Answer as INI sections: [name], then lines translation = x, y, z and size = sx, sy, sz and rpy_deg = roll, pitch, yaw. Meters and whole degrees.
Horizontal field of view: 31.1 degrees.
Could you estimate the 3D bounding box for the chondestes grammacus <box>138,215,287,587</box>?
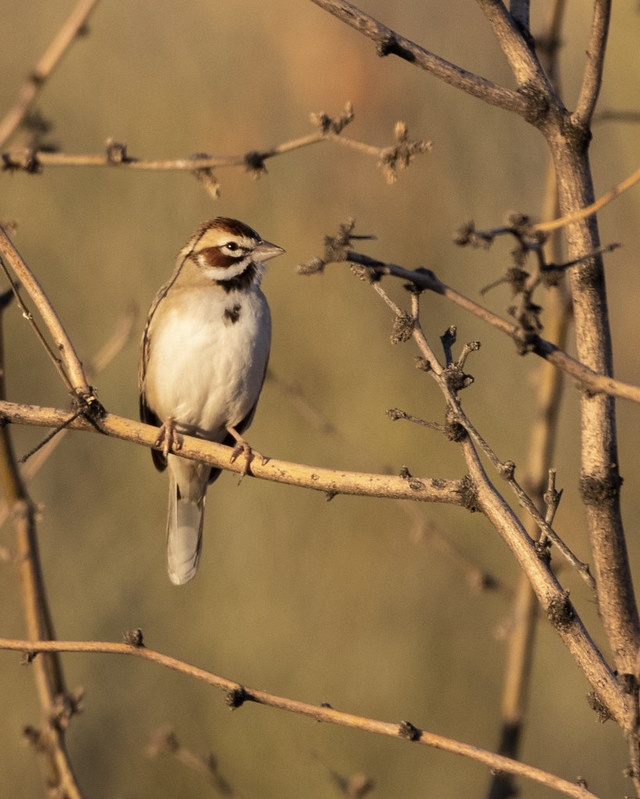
[chondestes grammacus]
translation = -0.561, -0.017, 5.276
size = 0.548, 0.951, 1.499
rpy_deg = 7, -105, -33
